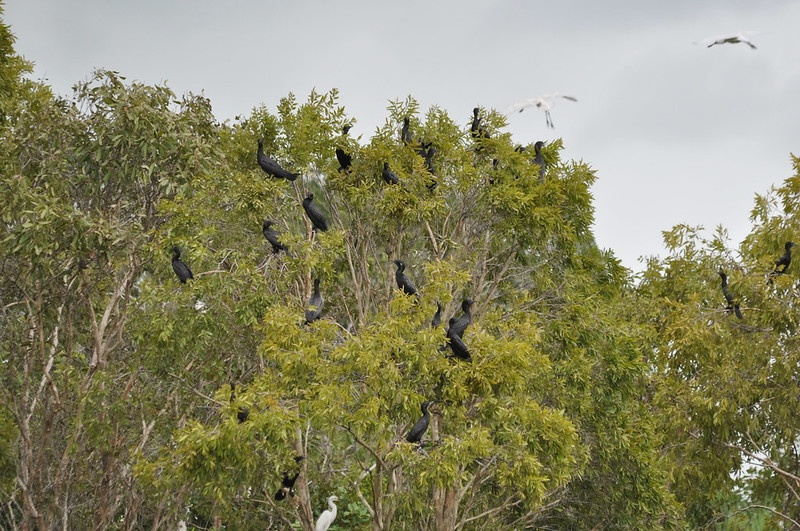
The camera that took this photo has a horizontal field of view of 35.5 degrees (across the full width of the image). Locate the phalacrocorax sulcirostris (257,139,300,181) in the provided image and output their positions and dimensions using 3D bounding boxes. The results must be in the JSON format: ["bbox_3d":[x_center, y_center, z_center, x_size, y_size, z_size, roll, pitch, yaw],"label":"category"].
[{"bbox_3d":[-2.844,-2.398,28.424,1.063,1.007,0.359,6,9,7],"label":"phalacrocorax sulcirostris"}]

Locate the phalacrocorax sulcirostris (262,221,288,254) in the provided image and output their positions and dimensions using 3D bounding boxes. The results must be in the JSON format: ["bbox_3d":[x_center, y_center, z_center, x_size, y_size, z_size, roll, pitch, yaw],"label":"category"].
[{"bbox_3d":[-2.804,-0.615,27.955,0.751,0.842,0.268,4,-16,5],"label":"phalacrocorax sulcirostris"}]

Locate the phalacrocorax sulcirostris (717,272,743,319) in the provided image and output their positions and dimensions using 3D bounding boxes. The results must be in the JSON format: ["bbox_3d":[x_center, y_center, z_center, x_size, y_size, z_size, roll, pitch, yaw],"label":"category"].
[{"bbox_3d":[8.527,0.768,32.438,0.348,1.077,0.722,-25,-47,-5],"label":"phalacrocorax sulcirostris"}]

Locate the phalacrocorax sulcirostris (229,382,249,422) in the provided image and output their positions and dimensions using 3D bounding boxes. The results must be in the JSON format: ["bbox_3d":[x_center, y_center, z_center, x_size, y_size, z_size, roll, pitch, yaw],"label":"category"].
[{"bbox_3d":[-3.362,2.894,26.246,0.197,0.868,0.225,2,1,24],"label":"phalacrocorax sulcirostris"}]

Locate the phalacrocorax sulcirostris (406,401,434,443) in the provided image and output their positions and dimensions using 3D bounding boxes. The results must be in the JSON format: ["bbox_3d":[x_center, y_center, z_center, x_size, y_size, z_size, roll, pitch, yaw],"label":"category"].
[{"bbox_3d":[0.413,3.195,25.808,0.413,0.914,0.855,10,-36,-1],"label":"phalacrocorax sulcirostris"}]
